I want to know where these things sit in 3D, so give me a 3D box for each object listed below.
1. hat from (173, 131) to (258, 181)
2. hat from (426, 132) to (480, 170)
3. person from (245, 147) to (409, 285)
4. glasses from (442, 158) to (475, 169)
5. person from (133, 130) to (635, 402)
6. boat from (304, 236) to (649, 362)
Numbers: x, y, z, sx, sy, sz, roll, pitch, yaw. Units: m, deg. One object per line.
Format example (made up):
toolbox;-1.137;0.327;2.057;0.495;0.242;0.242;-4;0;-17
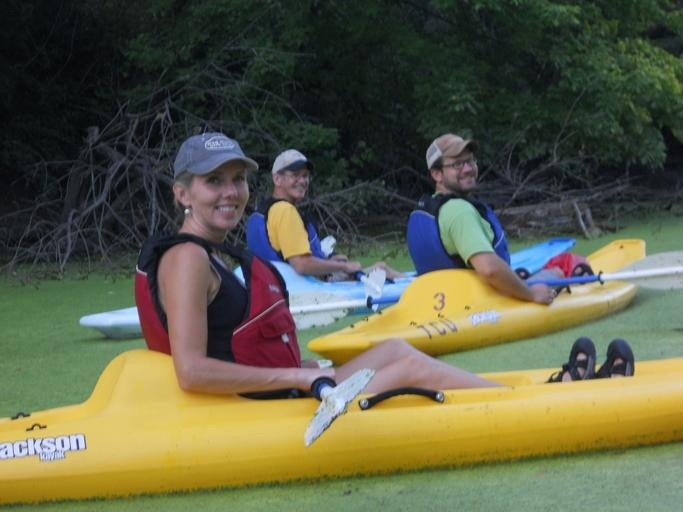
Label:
hat;-0.718;-0.580;4.475;0.357;0.244;0.463;-11;8;-39
hat;0.816;-0.835;6.229;0.358;0.196;0.237;-32;-10;36
person;-0.059;-0.257;7.425;1.826;1.367;0.832;0;0;-38
glasses;0.907;-0.701;6.141;0.119;0.038;0.122;-11;-3;32
person;-0.138;0.070;4.537;2.001;1.296;0.590;-7;3;-21
boat;1.271;0.531;6.152;2.978;0.667;0.921;-12;11;-10
